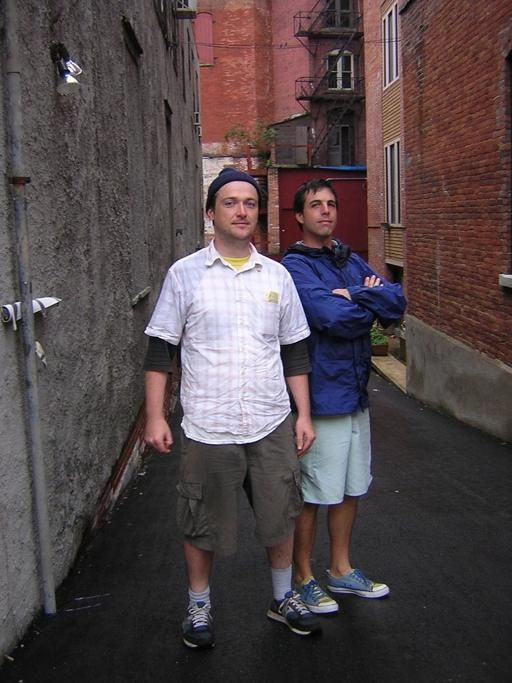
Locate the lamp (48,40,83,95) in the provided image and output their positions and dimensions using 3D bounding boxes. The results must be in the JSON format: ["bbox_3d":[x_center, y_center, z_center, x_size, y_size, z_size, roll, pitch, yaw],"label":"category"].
[{"bbox_3d":[-0.780,-1.125,2.422,0.107,0.196,0.095,-18,-11,-12],"label":"lamp"}]

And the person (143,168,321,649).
[{"bbox_3d":[-0.078,0.217,2.231,0.670,1.812,0.329,1,-1,-13],"label":"person"}]

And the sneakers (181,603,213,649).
[{"bbox_3d":[-0.216,1.037,2.221,0.098,0.113,0.259,8,2,-11],"label":"sneakers"}]

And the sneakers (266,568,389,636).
[{"bbox_3d":[0.220,0.997,2.403,0.223,0.103,0.322,-15,-6,42],"label":"sneakers"}]
